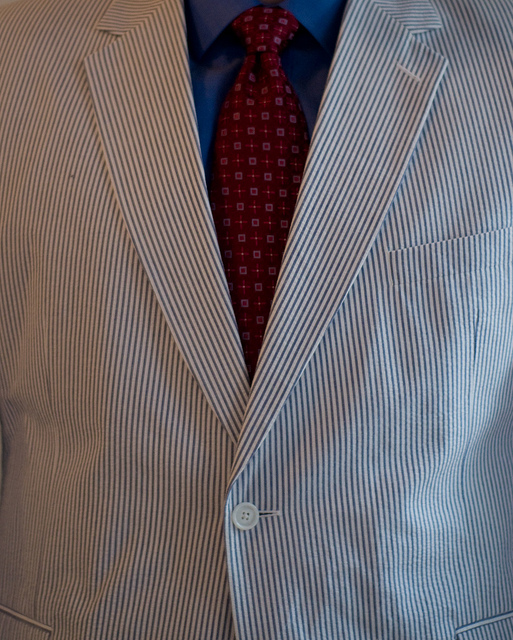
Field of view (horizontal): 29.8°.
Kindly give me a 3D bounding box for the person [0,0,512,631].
[{"bbox_3d":[-0.010,-0.006,1.195,0.698,0.464,0.666,8,52,2],"label":"person"}]
